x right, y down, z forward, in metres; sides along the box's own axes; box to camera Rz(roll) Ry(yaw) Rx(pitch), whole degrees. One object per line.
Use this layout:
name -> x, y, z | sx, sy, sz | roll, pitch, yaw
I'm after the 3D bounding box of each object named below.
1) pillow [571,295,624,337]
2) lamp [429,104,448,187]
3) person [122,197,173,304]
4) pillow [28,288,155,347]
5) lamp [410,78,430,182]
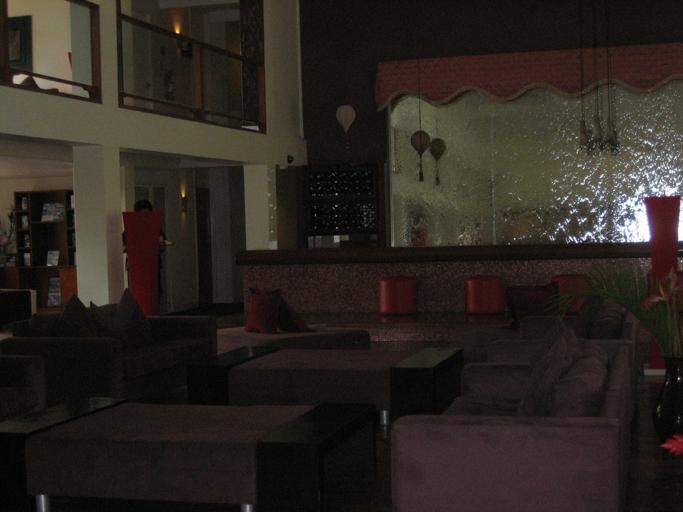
pillow -> 1.918, 0.464, 5.140 | 0.349, 0.197, 0.599 | 1, 3, 19
lamp -> 1.390, -1.524, 9.946 | 0.253, 1.069, 0.097 | -2, 2, 8
person -> -2.894, 0.017, 10.266 | 0.668, 1.951, 0.586 | 1, 35, -12
pillow -> -2.029, 0.547, 5.656 | 0.574, 0.389, 0.555 | -1, -5, 9
lamp -> 1.121, -1.815, 9.817 | 0.277, 1.502, 0.457 | -2, 2, 7
